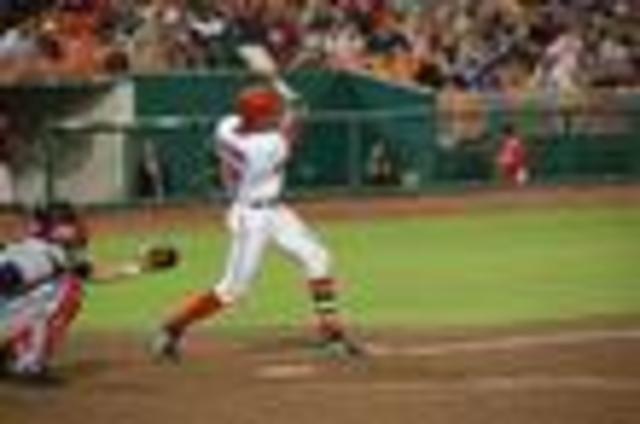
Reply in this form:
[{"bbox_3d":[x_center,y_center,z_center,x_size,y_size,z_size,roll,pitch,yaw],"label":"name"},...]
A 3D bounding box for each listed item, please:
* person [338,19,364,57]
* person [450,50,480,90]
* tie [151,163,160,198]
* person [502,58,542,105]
[{"bbox_3d":[0.618,-3.461,22.435,0.627,0.760,0.489,-15,35,-20],"label":"person"},{"bbox_3d":[2.734,-2.687,21.289,0.395,0.722,0.709,1,4,23],"label":"person"},{"bbox_3d":[-2.800,-0.499,19.022,0.071,0.668,0.075,-12,1,3],"label":"tie"},{"bbox_3d":[3.772,-2.418,20.984,0.708,0.876,1.350,0,3,9],"label":"person"}]
